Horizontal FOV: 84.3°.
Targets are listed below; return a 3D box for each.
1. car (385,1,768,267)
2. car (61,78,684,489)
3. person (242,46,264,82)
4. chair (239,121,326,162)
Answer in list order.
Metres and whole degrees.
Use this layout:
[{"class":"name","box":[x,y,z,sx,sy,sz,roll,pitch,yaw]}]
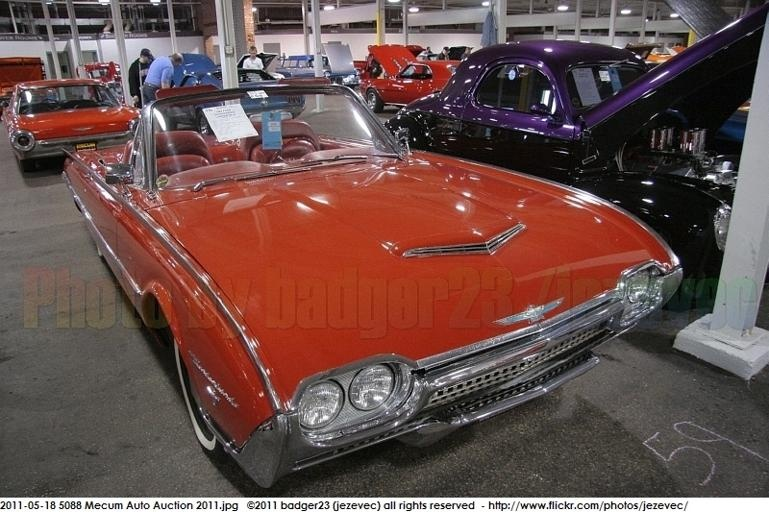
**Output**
[{"class":"car","box":[1.890,-1.403,4.651,2.045,2.071,3.895,-18,31,-32]},{"class":"car","box":[-0.838,-0.504,3.535,2.864,1.413,4.786,-18,33,-40]},{"class":"person","box":[-3.691,-5.356,11.708,0.560,0.923,0.312,-12,57,-25]},{"class":"chair","box":[-0.767,-0.876,3.309,0.370,0.203,0.496,-9,18,-25]}]
